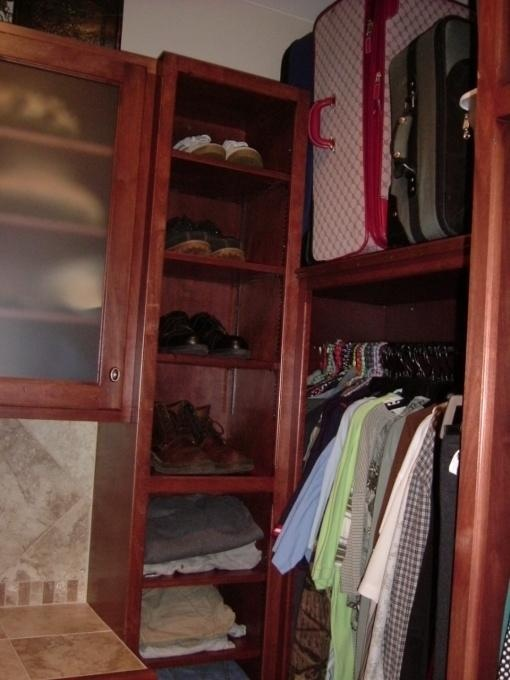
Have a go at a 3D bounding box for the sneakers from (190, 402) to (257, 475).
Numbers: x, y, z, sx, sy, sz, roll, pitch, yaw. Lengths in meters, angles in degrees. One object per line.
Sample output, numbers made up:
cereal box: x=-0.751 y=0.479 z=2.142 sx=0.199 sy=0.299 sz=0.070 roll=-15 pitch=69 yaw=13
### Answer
sneakers: x=-0.129 y=0.262 z=1.538 sx=0.087 sy=0.106 sz=0.260 roll=-5 pitch=20 yaw=-43

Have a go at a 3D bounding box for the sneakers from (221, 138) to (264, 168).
sneakers: x=-0.032 y=-0.499 z=1.535 sx=0.051 sy=0.058 sz=0.138 roll=-13 pitch=-11 yaw=25

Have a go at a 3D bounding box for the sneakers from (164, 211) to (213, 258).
sneakers: x=-0.172 y=-0.278 z=1.479 sx=0.121 sy=0.096 sz=0.132 roll=4 pitch=1 yaw=-7

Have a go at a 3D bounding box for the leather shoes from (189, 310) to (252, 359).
leather shoes: x=-0.132 y=-0.013 z=1.591 sx=0.091 sy=0.120 sz=0.278 roll=-3 pitch=5 yaw=-44

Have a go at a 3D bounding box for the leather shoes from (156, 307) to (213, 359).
leather shoes: x=-0.197 y=-0.020 z=1.471 sx=0.118 sy=0.107 sz=0.171 roll=3 pitch=1 yaw=-24

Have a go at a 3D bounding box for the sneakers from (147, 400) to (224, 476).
sneakers: x=-0.171 y=0.248 z=1.477 sx=0.183 sy=0.167 sz=0.239 roll=4 pitch=1 yaw=2
